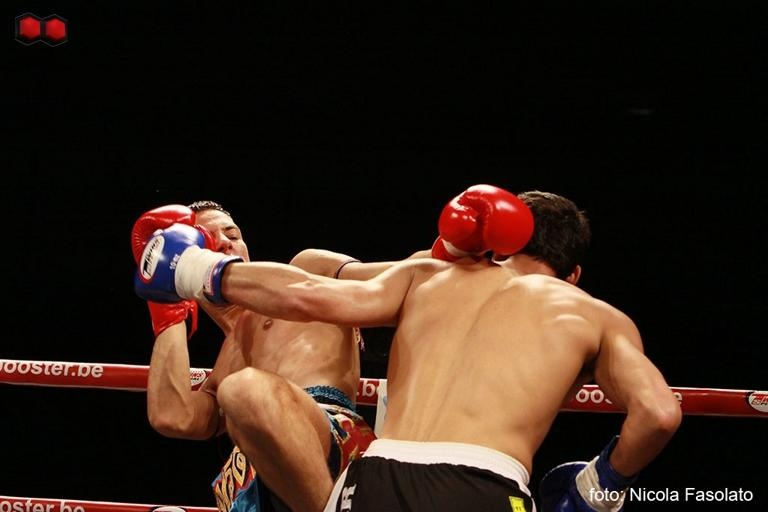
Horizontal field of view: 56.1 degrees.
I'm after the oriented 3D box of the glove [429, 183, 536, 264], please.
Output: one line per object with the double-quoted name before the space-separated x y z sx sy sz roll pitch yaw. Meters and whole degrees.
"glove" 0.538 -0.181 4.185 0.477 0.566 0.384 -10 16 11
